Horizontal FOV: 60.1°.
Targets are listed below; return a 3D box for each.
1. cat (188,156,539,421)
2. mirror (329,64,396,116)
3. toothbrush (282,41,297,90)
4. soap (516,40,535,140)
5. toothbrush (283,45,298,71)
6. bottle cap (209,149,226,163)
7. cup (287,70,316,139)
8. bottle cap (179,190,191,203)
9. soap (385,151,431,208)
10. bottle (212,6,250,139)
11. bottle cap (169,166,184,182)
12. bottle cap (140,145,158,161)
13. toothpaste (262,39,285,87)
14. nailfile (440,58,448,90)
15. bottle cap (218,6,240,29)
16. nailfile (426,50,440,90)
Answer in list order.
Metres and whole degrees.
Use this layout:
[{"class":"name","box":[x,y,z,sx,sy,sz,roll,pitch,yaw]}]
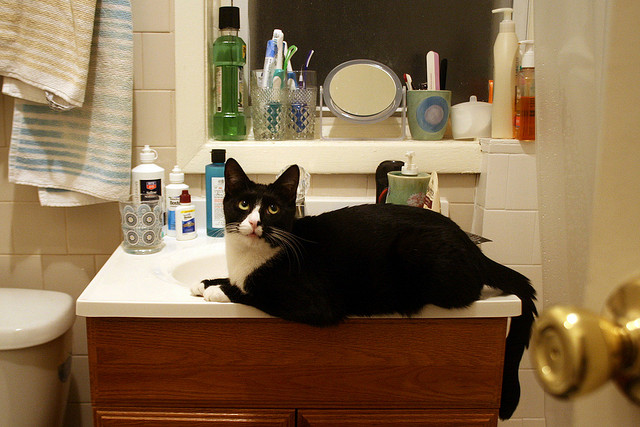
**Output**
[{"class":"cat","box":[0.078,0.129,1.092,0.619,0.249,0.467,3,7,-10]},{"class":"mirror","box":[0.115,-0.327,1.463,0.146,0.117,0.064,-2,12,-9]},{"class":"toothbrush","box":[-0.076,-0.399,1.513,0.037,0.128,0.020,-9,0,33]},{"class":"soap","box":[0.519,-0.300,1.370,0.069,0.245,0.079,0,7,13]},{"class":"toothbrush","box":[-0.081,-0.425,1.491,0.022,0.088,0.010,28,2,34]},{"class":"bottle cap","box":[-0.249,-0.142,1.359,0.034,0.025,0.027,0,3,19]},{"class":"cup","box":[-0.050,-0.300,1.545,0.078,0.176,0.125,0,8,0]},{"class":"bottle cap","box":[-0.325,-0.041,1.341,0.027,0.032,0.022,-3,9,-23]},{"class":"soap","box":[0.208,-0.061,1.287,0.101,0.154,0.099,-9,17,-31]},{"class":"bottle","box":[-0.241,-0.371,1.513,0.101,0.332,0.161,-1,8,-7]},{"class":"bottle cap","box":[-0.360,-0.098,1.379,0.039,0.036,0.038,0,1,-27]},{"class":"bottle cap","box":[-0.437,-0.153,1.410,0.049,0.047,0.037,1,3,-22]},{"class":"toothpaste","box":[-0.131,-0.392,1.458,0.041,0.121,0.022,-2,9,-12]},{"class":"nailfile","box":[0.334,-0.369,1.491,0.019,0.087,0.023,3,1,-4]},{"class":"bottle cap","box":[-0.231,-0.503,1.435,0.056,0.051,0.046,-2,9,-18]},{"class":"nailfile","box":[0.301,-0.375,1.470,0.032,0.138,0.012,13,57,21]}]
